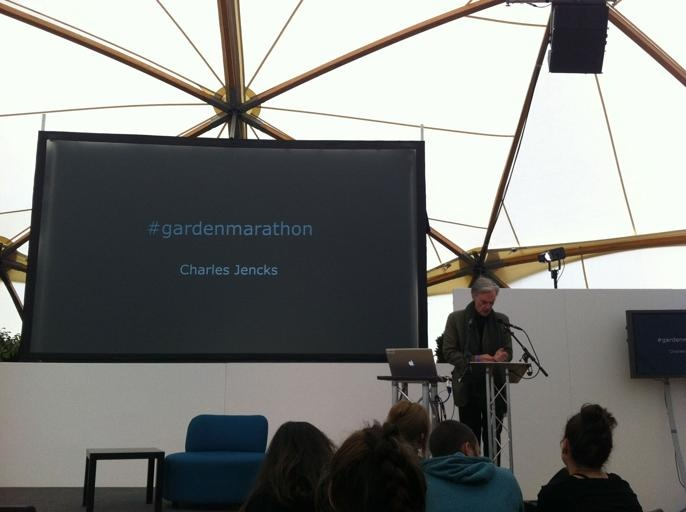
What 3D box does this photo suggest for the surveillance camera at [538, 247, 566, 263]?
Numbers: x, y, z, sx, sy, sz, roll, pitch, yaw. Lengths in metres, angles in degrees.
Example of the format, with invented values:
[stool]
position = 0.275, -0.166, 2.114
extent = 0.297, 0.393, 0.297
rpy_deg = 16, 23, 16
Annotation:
[surveillance camera]
position = 4.155, -0.020, 13.431
extent = 0.374, 0.216, 0.207
rpy_deg = -13, 1, -13

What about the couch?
[couch]
position = -1.539, 2.622, 8.925
extent = 1.409, 1.304, 1.346
rpy_deg = 0, -22, -1

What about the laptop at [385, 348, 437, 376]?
[laptop]
position = 0.827, 1.289, 8.085
extent = 0.512, 0.309, 0.396
rpy_deg = -9, -13, 38
